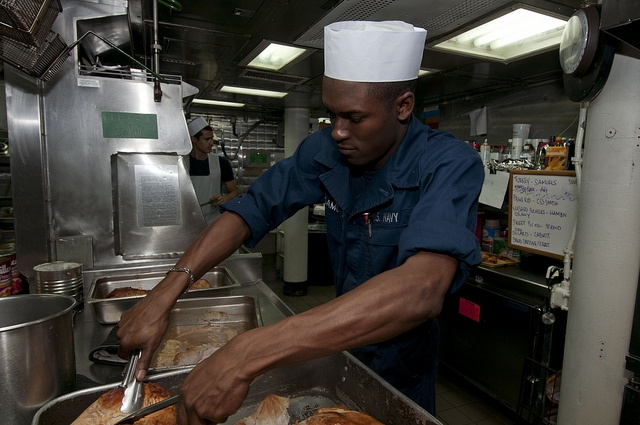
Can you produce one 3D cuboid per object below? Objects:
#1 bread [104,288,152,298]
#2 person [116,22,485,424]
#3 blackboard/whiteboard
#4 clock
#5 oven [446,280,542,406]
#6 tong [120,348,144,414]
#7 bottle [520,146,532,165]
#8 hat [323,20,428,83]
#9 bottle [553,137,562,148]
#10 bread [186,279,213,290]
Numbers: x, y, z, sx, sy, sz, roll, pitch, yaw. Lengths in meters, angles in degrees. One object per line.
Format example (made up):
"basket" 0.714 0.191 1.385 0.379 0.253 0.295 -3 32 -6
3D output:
"bread" -1.190 0.491 2.513 0.262 0.063 0.147 4 4 -15
"person" -0.004 -0.061 1.902 1.459 1.704 0.920 -3 7 -15
"blackboard/whiteboard" 1.854 -0.005 3.378 0.065 0.697 0.718 -5 9 -17
"clock" 1.557 -1.008 2.447 0.088 0.391 0.270 -3 7 -16
"oven" 1.649 1.088 3.816 0.607 1.000 1.047 -7 12 -26
"tong" -0.786 0.717 1.760 0.062 0.237 0.069 16 -38 -19
"bottle" 1.974 -0.548 3.895 0.108 0.188 0.265 2 7 27
"hat" 0.281 -0.815 2.086 0.501 0.262 0.543 4 28 8
"bottle" 2.064 -0.606 3.523 0.062 0.075 0.123 3 7 30
"bread" -0.805 0.486 2.769 0.144 0.050 0.151 1 -1 3
